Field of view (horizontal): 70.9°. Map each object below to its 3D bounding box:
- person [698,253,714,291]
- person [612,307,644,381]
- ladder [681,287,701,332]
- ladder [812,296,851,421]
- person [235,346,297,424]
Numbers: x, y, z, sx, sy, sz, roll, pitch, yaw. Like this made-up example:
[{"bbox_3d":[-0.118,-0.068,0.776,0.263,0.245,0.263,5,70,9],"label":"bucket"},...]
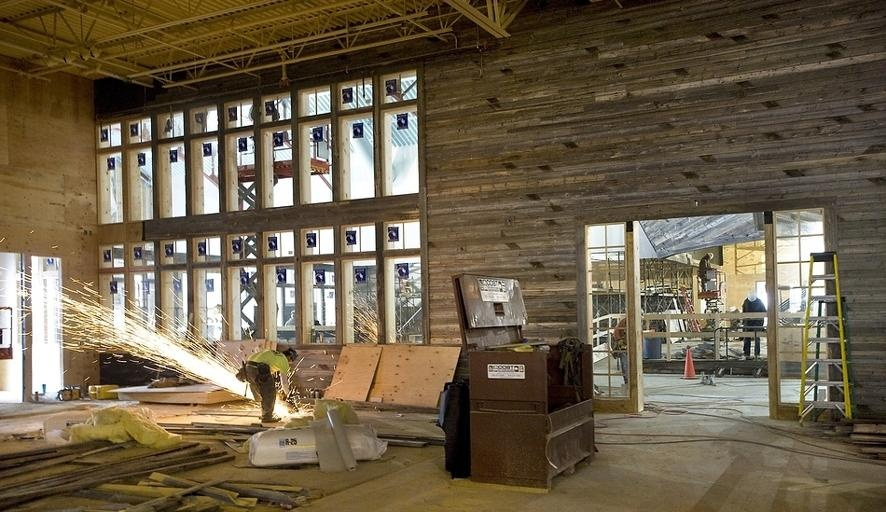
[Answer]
[{"bbox_3d":[8.463,0.561,20.157,0.445,1.168,1.043,1,3,22],"label":"person"},{"bbox_3d":[3.604,1.893,12.576,0.207,1.368,0.422,-3,5,-36],"label":"person"},{"bbox_3d":[8.424,1.827,21.287,0.414,1.435,0.831,-12,4,1],"label":"ladder"},{"bbox_3d":[6.981,1.792,11.172,0.624,2.179,1.095,2,4,28],"label":"ladder"},{"bbox_3d":[-3.606,2.575,12.390,0.974,1.320,0.710,1,4,14],"label":"person"}]
